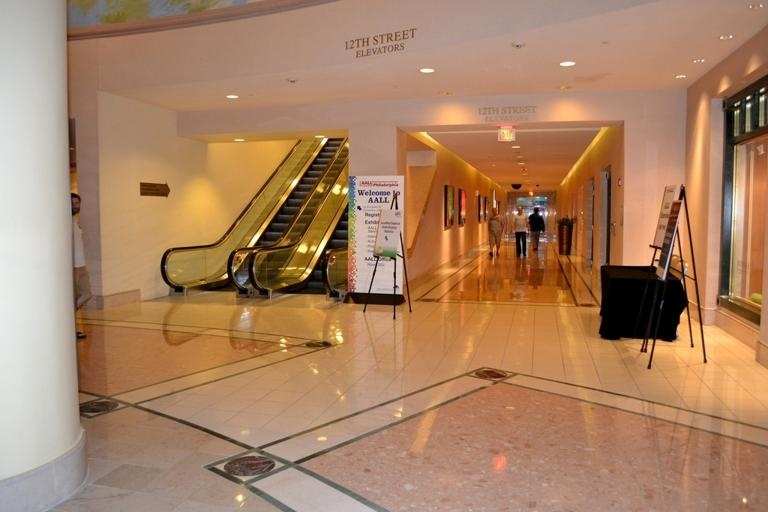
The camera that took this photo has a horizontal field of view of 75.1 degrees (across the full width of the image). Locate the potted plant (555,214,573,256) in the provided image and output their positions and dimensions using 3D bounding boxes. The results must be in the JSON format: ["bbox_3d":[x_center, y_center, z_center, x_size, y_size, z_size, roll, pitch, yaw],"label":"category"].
[{"bbox_3d":[7.199,-0.793,19.896,0.638,1.379,2.025,2,7,21],"label":"potted plant"}]

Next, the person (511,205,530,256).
[{"bbox_3d":[5.022,-0.916,18.298,0.443,1.839,1.537,1,7,16],"label":"person"}]

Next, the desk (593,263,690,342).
[{"bbox_3d":[3.547,0.613,6.885,1.025,1.060,1.108,3,7,24],"label":"desk"}]
